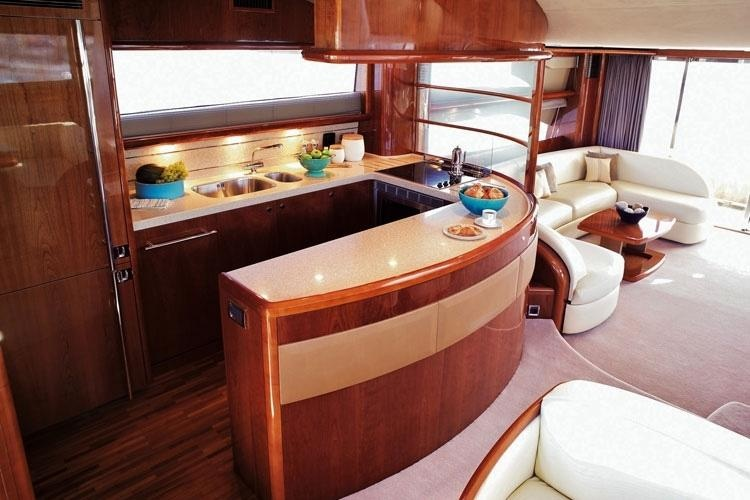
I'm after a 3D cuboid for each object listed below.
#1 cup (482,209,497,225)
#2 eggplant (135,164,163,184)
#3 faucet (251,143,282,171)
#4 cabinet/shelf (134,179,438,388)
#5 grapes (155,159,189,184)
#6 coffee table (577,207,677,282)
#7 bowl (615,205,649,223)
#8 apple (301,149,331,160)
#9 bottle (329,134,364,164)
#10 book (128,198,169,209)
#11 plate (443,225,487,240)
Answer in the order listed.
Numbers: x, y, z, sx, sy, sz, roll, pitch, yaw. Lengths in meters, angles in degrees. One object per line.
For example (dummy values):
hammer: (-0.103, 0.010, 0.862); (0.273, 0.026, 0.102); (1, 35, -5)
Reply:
cup: (0.798, -0.223, 3.566); (0.141, 0.111, 0.102); (0, 22, 10)
eggplant: (-1.760, -0.585, 3.951); (0.143, 0.111, 0.184); (-1, 15, -21)
faucet: (-1.042, -0.879, 4.801); (0.107, 0.205, 0.421); (16, 29, 40)
cabinet/shelf: (-0.693, 0.251, 3.420); (0.469, 0.527, 1.490); (24, 36, 37)
grapes: (-1.597, -0.593, 3.992); (0.170, 0.152, 0.222); (-16, 3, -8)
coffee table: (2.853, -0.135, 5.853); (1.134, 0.545, 0.799); (-29, 38, -33)
bowl: (2.948, -0.427, 5.823); (0.266, 0.141, 0.240); (24, 37, 39)
apple: (-0.545, -0.868, 4.649); (0.150, 0.060, 0.152); (12, 25, 28)
bottle: (-0.263, -0.988, 5.039); (0.371, 0.229, 0.230); (-14, 37, -22)
book: (-1.718, -0.348, 3.871); (0.291, 0.048, 0.180); (-8, 22, -9)
plate: (0.599, -0.123, 3.442); (0.275, 0.059, 0.205); (-3, 22, 1)
